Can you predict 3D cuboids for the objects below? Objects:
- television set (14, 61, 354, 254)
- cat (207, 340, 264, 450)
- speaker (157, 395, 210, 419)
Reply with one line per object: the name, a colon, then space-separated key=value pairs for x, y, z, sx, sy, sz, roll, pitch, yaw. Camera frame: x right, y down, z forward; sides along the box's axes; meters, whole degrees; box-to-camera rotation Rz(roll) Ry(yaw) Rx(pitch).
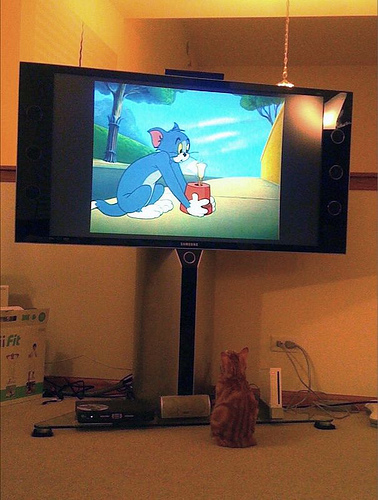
television set: x=0.005 y=-0.384 z=2.139 sx=1.473 sy=0.819 sz=0.063 roll=3 pitch=0 yaw=-8
cat: x=0.198 y=0.552 z=1.909 sx=0.170 sy=0.395 sz=0.203 roll=3 pitch=-10 yaw=-18
speaker: x=-0.016 y=0.652 z=2.026 sx=0.204 sy=0.094 sz=0.028 roll=3 pitch=0 yaw=-11
